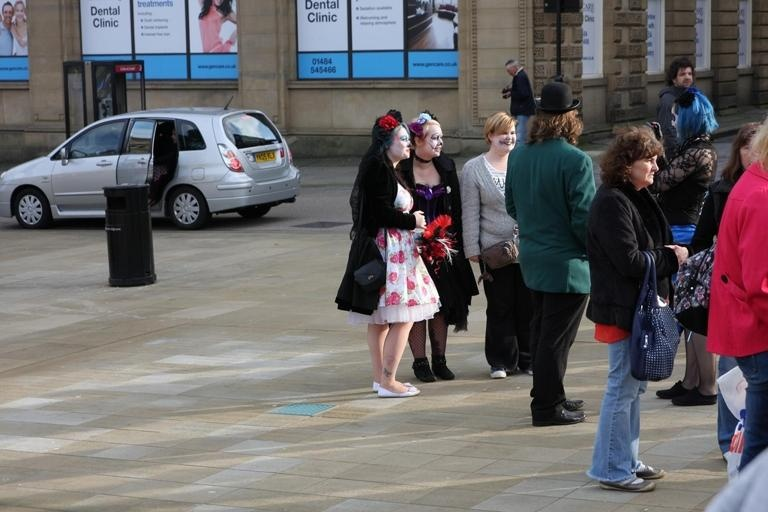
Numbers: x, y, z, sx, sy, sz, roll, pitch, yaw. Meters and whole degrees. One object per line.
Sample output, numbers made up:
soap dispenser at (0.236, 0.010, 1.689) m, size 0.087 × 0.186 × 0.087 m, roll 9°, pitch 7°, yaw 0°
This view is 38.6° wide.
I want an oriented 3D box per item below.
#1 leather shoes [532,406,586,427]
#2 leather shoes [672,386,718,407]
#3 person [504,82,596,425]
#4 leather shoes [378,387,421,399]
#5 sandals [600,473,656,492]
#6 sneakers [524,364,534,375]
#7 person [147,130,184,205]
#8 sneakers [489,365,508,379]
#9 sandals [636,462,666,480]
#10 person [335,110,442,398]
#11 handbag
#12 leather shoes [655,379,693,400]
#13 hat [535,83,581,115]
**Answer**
leather shoes at (1.393, 1.298, 8.815) m, size 0.475 × 0.181 × 0.161 m, roll -4°, pitch 7°, yaw -13°
leather shoes at (2.577, 1.174, 9.070) m, size 0.357 × 0.136 × 0.139 m, roll 0°, pitch 1°, yaw 8°
person at (1.341, -0.004, 8.666) m, size 0.618 × 2.689 × 0.772 m, roll -2°, pitch 13°, yaw 1°
leather shoes at (0.110, 1.196, 9.492) m, size 0.325 × 0.089 × 0.117 m, roll -2°, pitch 1°, yaw -2°
sandals at (1.722, 1.612, 7.718) m, size 0.386 × 0.141 × 0.133 m, roll -2°, pitch 4°, yaw 8°
sneakers at (1.292, 1.051, 9.845) m, size 0.060 × 0.068 × 0.170 m, roll 2°, pitch 11°, yaw 15°
person at (-3.627, -1.512, 17.739) m, size 0.535 × 1.282 × 0.313 m, roll -5°, pitch 13°, yaw -11°
sneakers at (1.021, 1.045, 9.815) m, size 0.109 × 0.109 × 0.267 m, roll -1°, pitch -6°, yaw 0°
sandals at (1.896, 1.532, 7.773) m, size 0.200 × 0.072 × 0.109 m, roll 0°, pitch 9°, yaw 10°
person at (-0.003, 0.005, 9.419) m, size 0.886 × 2.405 × 0.544 m, roll -4°, pitch 13°, yaw -5°
handbag at (1.870, 0.436, 7.585) m, size 0.324 × 0.897 × 0.363 m, roll 2°, pitch 14°, yaw 17°
leather shoes at (2.436, 1.127, 9.224) m, size 0.289 × 0.114 × 0.106 m, roll -6°, pitch 8°, yaw 33°
hat at (1.377, -1.257, 8.655) m, size 0.269 × 0.112 × 0.306 m, roll 2°, pitch 26°, yaw 11°
